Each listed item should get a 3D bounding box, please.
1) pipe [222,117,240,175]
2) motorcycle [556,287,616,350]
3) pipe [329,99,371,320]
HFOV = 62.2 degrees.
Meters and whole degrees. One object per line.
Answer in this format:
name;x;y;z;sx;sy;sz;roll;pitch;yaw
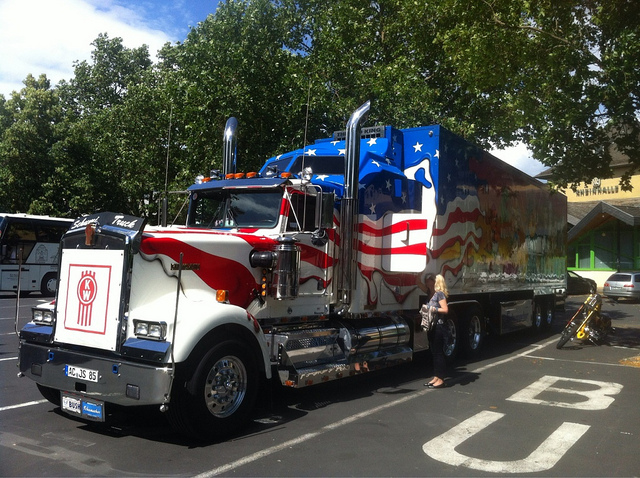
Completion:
pipe;-1.846;-1.939;10.876;0.263;1.066;1.296;1;0;-11
motorcycle;7.671;2.367;15.257;0.992;1.859;2.575;1;0;34
pipe;0.502;-0.518;9.445;0.612;3.663;0.358;1;0;-24
